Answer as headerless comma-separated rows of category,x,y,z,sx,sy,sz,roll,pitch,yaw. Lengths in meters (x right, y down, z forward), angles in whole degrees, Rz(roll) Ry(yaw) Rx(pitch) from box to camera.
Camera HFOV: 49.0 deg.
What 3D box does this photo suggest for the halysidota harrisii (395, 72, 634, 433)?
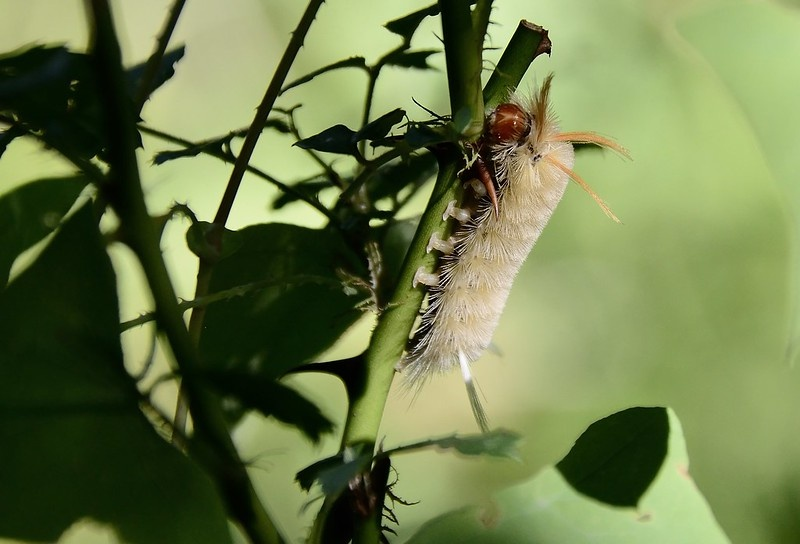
halysidota harrisii,0.077,0.017,0.853,0.158,0.205,0.350,14,-75,-19
